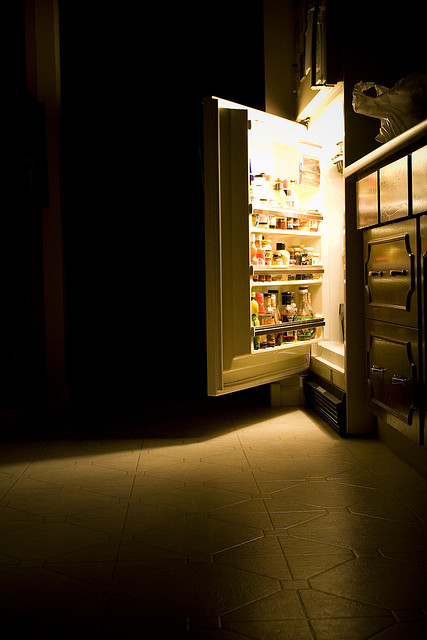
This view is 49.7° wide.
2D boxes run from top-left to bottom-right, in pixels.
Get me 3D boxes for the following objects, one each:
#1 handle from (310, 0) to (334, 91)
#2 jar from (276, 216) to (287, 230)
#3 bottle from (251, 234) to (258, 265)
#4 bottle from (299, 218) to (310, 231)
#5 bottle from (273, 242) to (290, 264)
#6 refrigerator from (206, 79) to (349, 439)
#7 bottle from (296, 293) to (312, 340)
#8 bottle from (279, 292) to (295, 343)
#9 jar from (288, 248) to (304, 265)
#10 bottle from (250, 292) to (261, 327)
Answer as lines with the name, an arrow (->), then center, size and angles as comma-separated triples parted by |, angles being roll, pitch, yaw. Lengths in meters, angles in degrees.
handle -> 0.548, -1.445, 2.417 | 0.059, 0.463, 0.120 | 1, -3, -28
jar -> 0.417, -0.597, 2.812 | 0.058, 0.098, 0.091 | 0, 4, 9
bottle -> 0.228, -0.396, 2.575 | 0.034, 0.171, 0.099 | -1, -3, 7
bottle -> 0.599, -0.630, 3.008 | 0.067, 0.079, 0.021 | 3, -4, -18
bottle -> 0.418, -0.405, 2.786 | 0.096, 0.189, 0.104 | -1, -4, 0
refrigerator -> 0.436, -0.393, 2.710 | 0.658, 2.003, 1.315 | -1, -3, 18
bottle -> 0.599, -0.038, 3.036 | 0.097, 0.358, 0.118 | 2, 4, 12
bottle -> 0.470, -0.036, 2.927 | 0.094, 0.317, 0.105 | -1, 13, 16
jar -> 0.522, -0.412, 2.970 | 0.085, 0.108, 0.174 | 2, 5, 3
bottle -> 0.233, -0.069, 2.583 | 0.045, 0.198, 0.160 | -1, -3, 8
